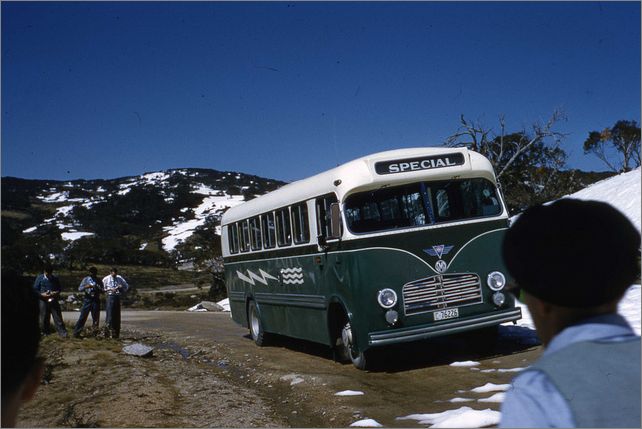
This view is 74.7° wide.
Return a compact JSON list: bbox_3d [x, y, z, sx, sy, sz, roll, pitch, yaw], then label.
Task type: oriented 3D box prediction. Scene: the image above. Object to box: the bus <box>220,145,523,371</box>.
[{"bbox_3d":[-0.352,1.424,11.496,3.189,4.584,10.235,2,-10,-42],"label":"bus"}]
